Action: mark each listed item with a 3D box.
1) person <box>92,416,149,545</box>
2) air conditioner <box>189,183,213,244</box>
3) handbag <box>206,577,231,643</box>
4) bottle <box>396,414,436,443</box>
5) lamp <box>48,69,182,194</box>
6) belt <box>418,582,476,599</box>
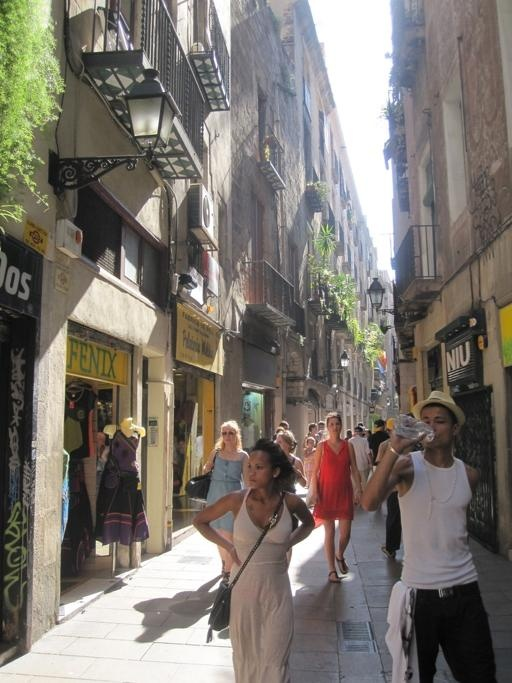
[{"bbox_3d":[-1.508,1.571,6.704,0.578,1.382,0.287,3,-7,-23],"label":"person"},{"bbox_3d":[-0.957,-2.228,10.254,0.287,0.859,0.697,-1,-8,11],"label":"air conditioner"},{"bbox_3d":[-0.173,1.273,2.853,0.073,0.243,0.195,18,-11,-6],"label":"handbag"},{"bbox_3d":[0.547,0.312,2.050,0.106,0.054,0.096,34,-35,10],"label":"bottle"},{"bbox_3d":[-1.243,-1.765,5.208,0.959,1.600,0.502,3,-39,-13],"label":"lamp"},{"bbox_3d":[0.715,0.919,2.187,0.247,0.051,0.058,2,-9,-11],"label":"belt"}]
